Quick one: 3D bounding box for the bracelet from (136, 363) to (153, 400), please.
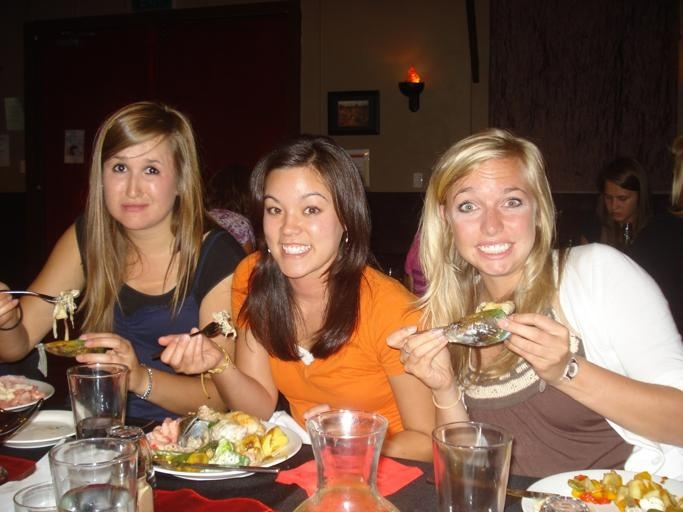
[{"bbox_3d":[-0.739,0.472,1.884,0.027,0.109,0.096,6,6,42],"label":"bracelet"}]

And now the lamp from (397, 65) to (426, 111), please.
[{"bbox_3d":[0.776,-1.814,5.462,0.259,0.434,0.243,-3,17,-9],"label":"lamp"}]

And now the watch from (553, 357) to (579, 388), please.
[{"bbox_3d":[0.651,0.336,1.443,0.053,0.073,0.020,38,-3,-15],"label":"watch"}]
